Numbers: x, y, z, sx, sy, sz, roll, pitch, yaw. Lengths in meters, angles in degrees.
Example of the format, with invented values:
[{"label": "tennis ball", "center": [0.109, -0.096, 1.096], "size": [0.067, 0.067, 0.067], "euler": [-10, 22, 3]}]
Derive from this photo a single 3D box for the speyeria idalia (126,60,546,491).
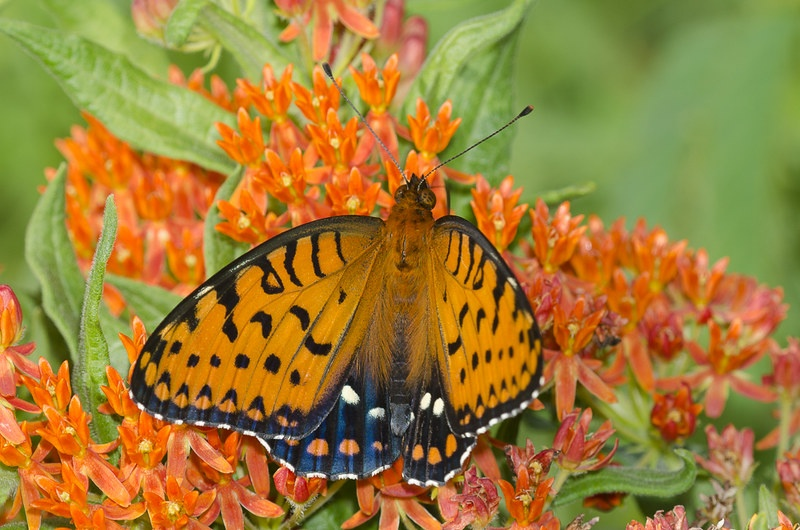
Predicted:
[{"label": "speyeria idalia", "center": [-0.109, 0.193, 1.725], "size": [0.700, 0.247, 0.549], "euler": [-31, 80, -12]}]
